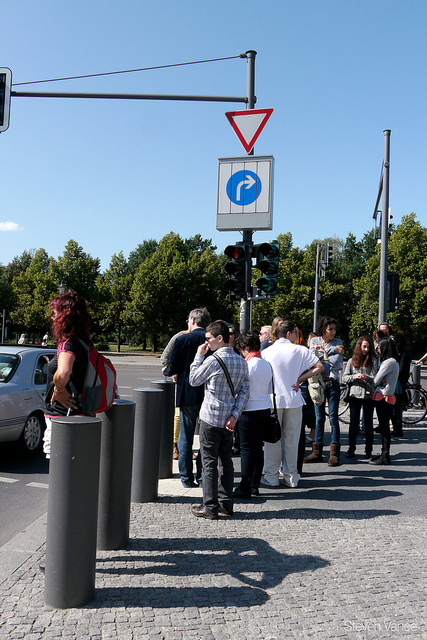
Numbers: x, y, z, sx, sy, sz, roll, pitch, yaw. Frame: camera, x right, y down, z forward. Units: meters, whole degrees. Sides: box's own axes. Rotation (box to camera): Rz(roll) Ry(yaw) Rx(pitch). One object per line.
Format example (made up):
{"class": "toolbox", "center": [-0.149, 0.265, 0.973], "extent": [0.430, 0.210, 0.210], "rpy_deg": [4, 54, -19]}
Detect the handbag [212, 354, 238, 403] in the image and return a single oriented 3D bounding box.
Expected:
{"class": "handbag", "center": [0.080, 0.459, 5.986], "extent": [0.068, 0.310, 0.165], "rpy_deg": [-14, 24, -29]}

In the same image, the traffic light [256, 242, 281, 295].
{"class": "traffic light", "center": [0.696, -0.660, 9.262], "extent": [0.282, 0.656, 0.589], "rpy_deg": [2, 0, 4]}

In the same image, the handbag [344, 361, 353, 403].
{"class": "handbag", "center": [1.739, 0.809, 9.321], "extent": [0.094, 0.499, 0.431], "rpy_deg": [2, 0, 10]}

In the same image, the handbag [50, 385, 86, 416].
{"class": "handbag", "center": [-0.959, 0.518, 4.853], "extent": [0.159, 0.227, 0.086], "rpy_deg": [-3, 1, 6]}

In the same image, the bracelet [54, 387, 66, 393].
{"class": "bracelet", "center": [-1.003, 0.462, 4.751], "extent": [0.064, 0.032, 0.051], "rpy_deg": [2, 0, -12]}

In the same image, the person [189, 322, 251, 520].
{"class": "person", "center": [0.048, 0.833, 6.104], "extent": [0.466, 1.608, 0.378], "rpy_deg": [2, 0, 16]}

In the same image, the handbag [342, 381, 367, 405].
{"class": "handbag", "center": [1.806, 0.917, 9.190], "extent": [0.232, 0.286, 0.485], "rpy_deg": [2, 0, 6]}

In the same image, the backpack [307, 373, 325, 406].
{"class": "backpack", "center": [1.214, 0.811, 8.526], "extent": [0.162, 0.408, 0.322], "rpy_deg": [6, -27, 4]}

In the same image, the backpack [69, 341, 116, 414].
{"class": "backpack", "center": [-0.787, 0.405, 5.053], "extent": [0.263, 0.480, 0.335], "rpy_deg": [-9, -11, 20]}

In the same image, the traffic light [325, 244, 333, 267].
{"class": "traffic light", "center": [4.145, -2.339, 26.169], "extent": [0.229, 0.762, 1.023], "rpy_deg": [2, 0, 8]}

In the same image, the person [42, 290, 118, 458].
{"class": "person", "center": [-0.890, 0.384, 4.874], "extent": [0.481, 1.150, 0.639], "rpy_deg": [2, 0, -11]}

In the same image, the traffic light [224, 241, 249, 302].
{"class": "traffic light", "center": [0.294, -0.632, 9.159], "extent": [0.305, 0.745, 0.362], "rpy_deg": [2, 0, 0]}

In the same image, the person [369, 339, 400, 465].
{"class": "person", "center": [2.112, 0.989, 8.960], "extent": [0.302, 1.447, 0.885], "rpy_deg": [2, 0, 14]}
